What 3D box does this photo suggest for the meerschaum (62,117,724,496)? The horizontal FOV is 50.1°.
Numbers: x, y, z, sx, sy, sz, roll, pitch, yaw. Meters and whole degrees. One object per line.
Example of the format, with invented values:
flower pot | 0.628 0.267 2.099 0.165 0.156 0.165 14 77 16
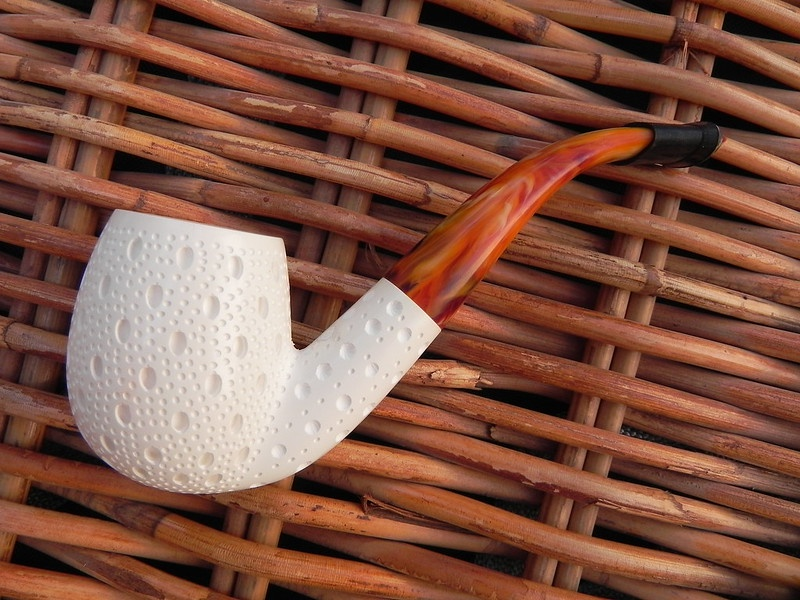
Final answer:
meerschaum | 0.001 0.002 0.770 0.475 0.413 0.217 5 45 -31
